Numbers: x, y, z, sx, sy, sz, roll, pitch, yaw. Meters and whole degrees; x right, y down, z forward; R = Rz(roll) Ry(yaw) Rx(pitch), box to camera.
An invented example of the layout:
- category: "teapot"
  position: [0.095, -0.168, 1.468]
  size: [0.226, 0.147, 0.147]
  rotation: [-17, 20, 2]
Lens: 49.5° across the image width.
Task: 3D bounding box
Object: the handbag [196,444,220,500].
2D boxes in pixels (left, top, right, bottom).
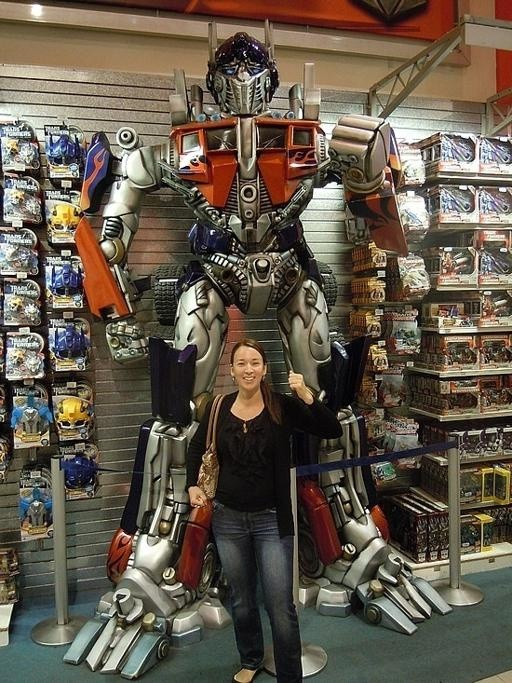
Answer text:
- category: "handbag"
  position: [-0.153, 0.419, 1.783]
  size: [0.071, 0.178, 0.053]
  rotation: [-2, 2, -8]
